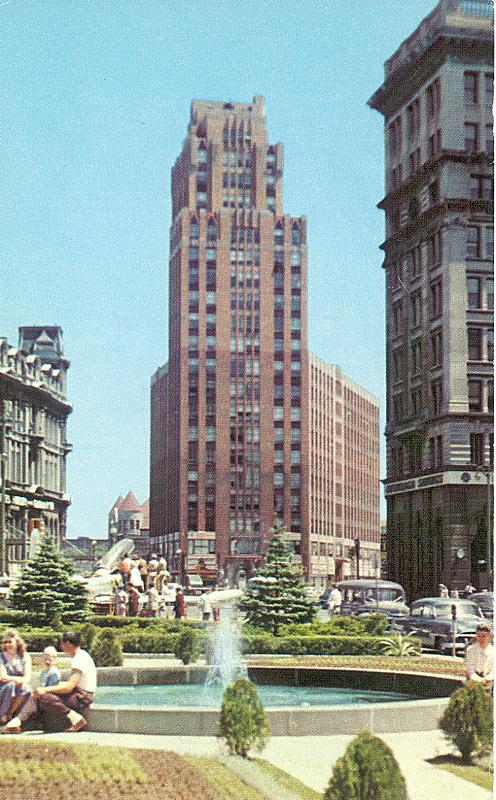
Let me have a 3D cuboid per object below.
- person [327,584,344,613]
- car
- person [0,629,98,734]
[{"bbox_3d":[2.460,5.738,40.345,0.385,0.478,0.789,1,7,6],"label":"person"},{"bbox_3d":[4.008,4.585,28.803,0.852,0.914,1.888,2,-6,-16],"label":"car"},{"bbox_3d":[-2.560,3.856,19.235,1.112,1.334,0.855,-5,-12,26],"label":"person"}]
